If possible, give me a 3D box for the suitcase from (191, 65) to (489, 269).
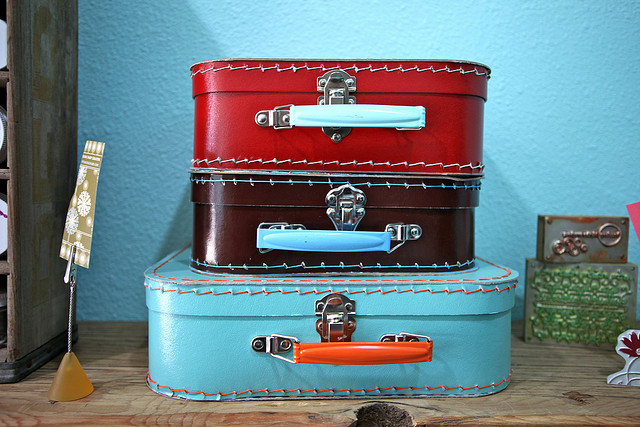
[{"bbox_3d":[0.037,-0.080,1.886,0.627,0.306,0.550,1,5,-3],"label":"suitcase"}]
